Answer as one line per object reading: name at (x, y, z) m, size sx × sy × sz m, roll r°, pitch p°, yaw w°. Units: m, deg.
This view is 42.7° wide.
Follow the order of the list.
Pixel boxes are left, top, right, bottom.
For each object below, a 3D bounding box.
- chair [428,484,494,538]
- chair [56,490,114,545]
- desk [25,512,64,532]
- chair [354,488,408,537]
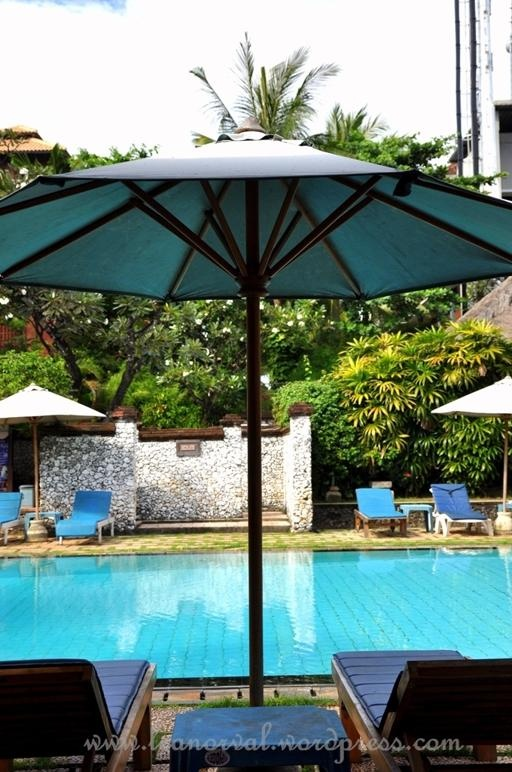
chair at (3.904, 2.381, 12.737) m, size 0.901 × 0.891 × 1.452 m, roll -1°, pitch -5°, yaw 2°
chair at (-3.227, 2.450, 12.464) m, size 0.818 × 0.927 × 1.333 m, roll -1°, pitch -8°, yaw -2°
desk at (-4.284, 2.612, 13.189) m, size 0.692 × 0.509 × 0.690 m, roll -1°, pitch -7°, yaw -3°
chair at (2.372, 2.383, 12.884) m, size 0.690 × 0.727 × 1.168 m, roll 1°, pitch -8°, yaw -8°
